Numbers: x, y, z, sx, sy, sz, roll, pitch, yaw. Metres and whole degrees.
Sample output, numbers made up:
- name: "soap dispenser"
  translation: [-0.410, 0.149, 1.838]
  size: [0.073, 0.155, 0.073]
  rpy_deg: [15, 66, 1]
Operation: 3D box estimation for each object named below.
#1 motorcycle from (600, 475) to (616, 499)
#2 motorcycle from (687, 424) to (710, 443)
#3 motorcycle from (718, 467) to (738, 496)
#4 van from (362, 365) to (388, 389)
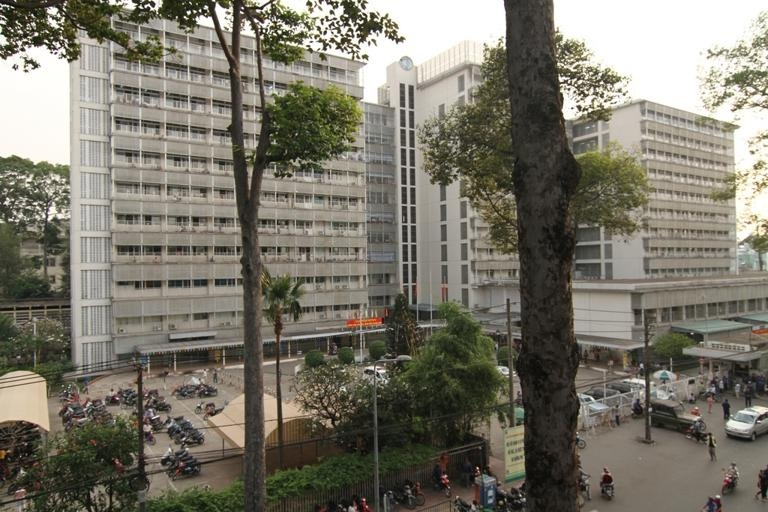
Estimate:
- name: "motorcycle"
  translation: [16.838, 17.352, 50.929]
  size: [0.841, 1.147, 1.832]
  rpy_deg: [0, -18, 8]
- name: "motorcycle"
  translation: [26.809, 15.204, 58.021]
  size: [1.055, 0.959, 1.472]
  rpy_deg: [4, -3, -43]
- name: "motorcycle"
  translation: [25.915, 17.004, 51.206]
  size: [1.442, 1.800, 0.413]
  rpy_deg: [0, -6, -15]
- name: "van"
  translation: [-1.070, 10.262, 57.343]
  size: [1.781, 1.717, 3.167]
  rpy_deg: [4, -12, -37]
